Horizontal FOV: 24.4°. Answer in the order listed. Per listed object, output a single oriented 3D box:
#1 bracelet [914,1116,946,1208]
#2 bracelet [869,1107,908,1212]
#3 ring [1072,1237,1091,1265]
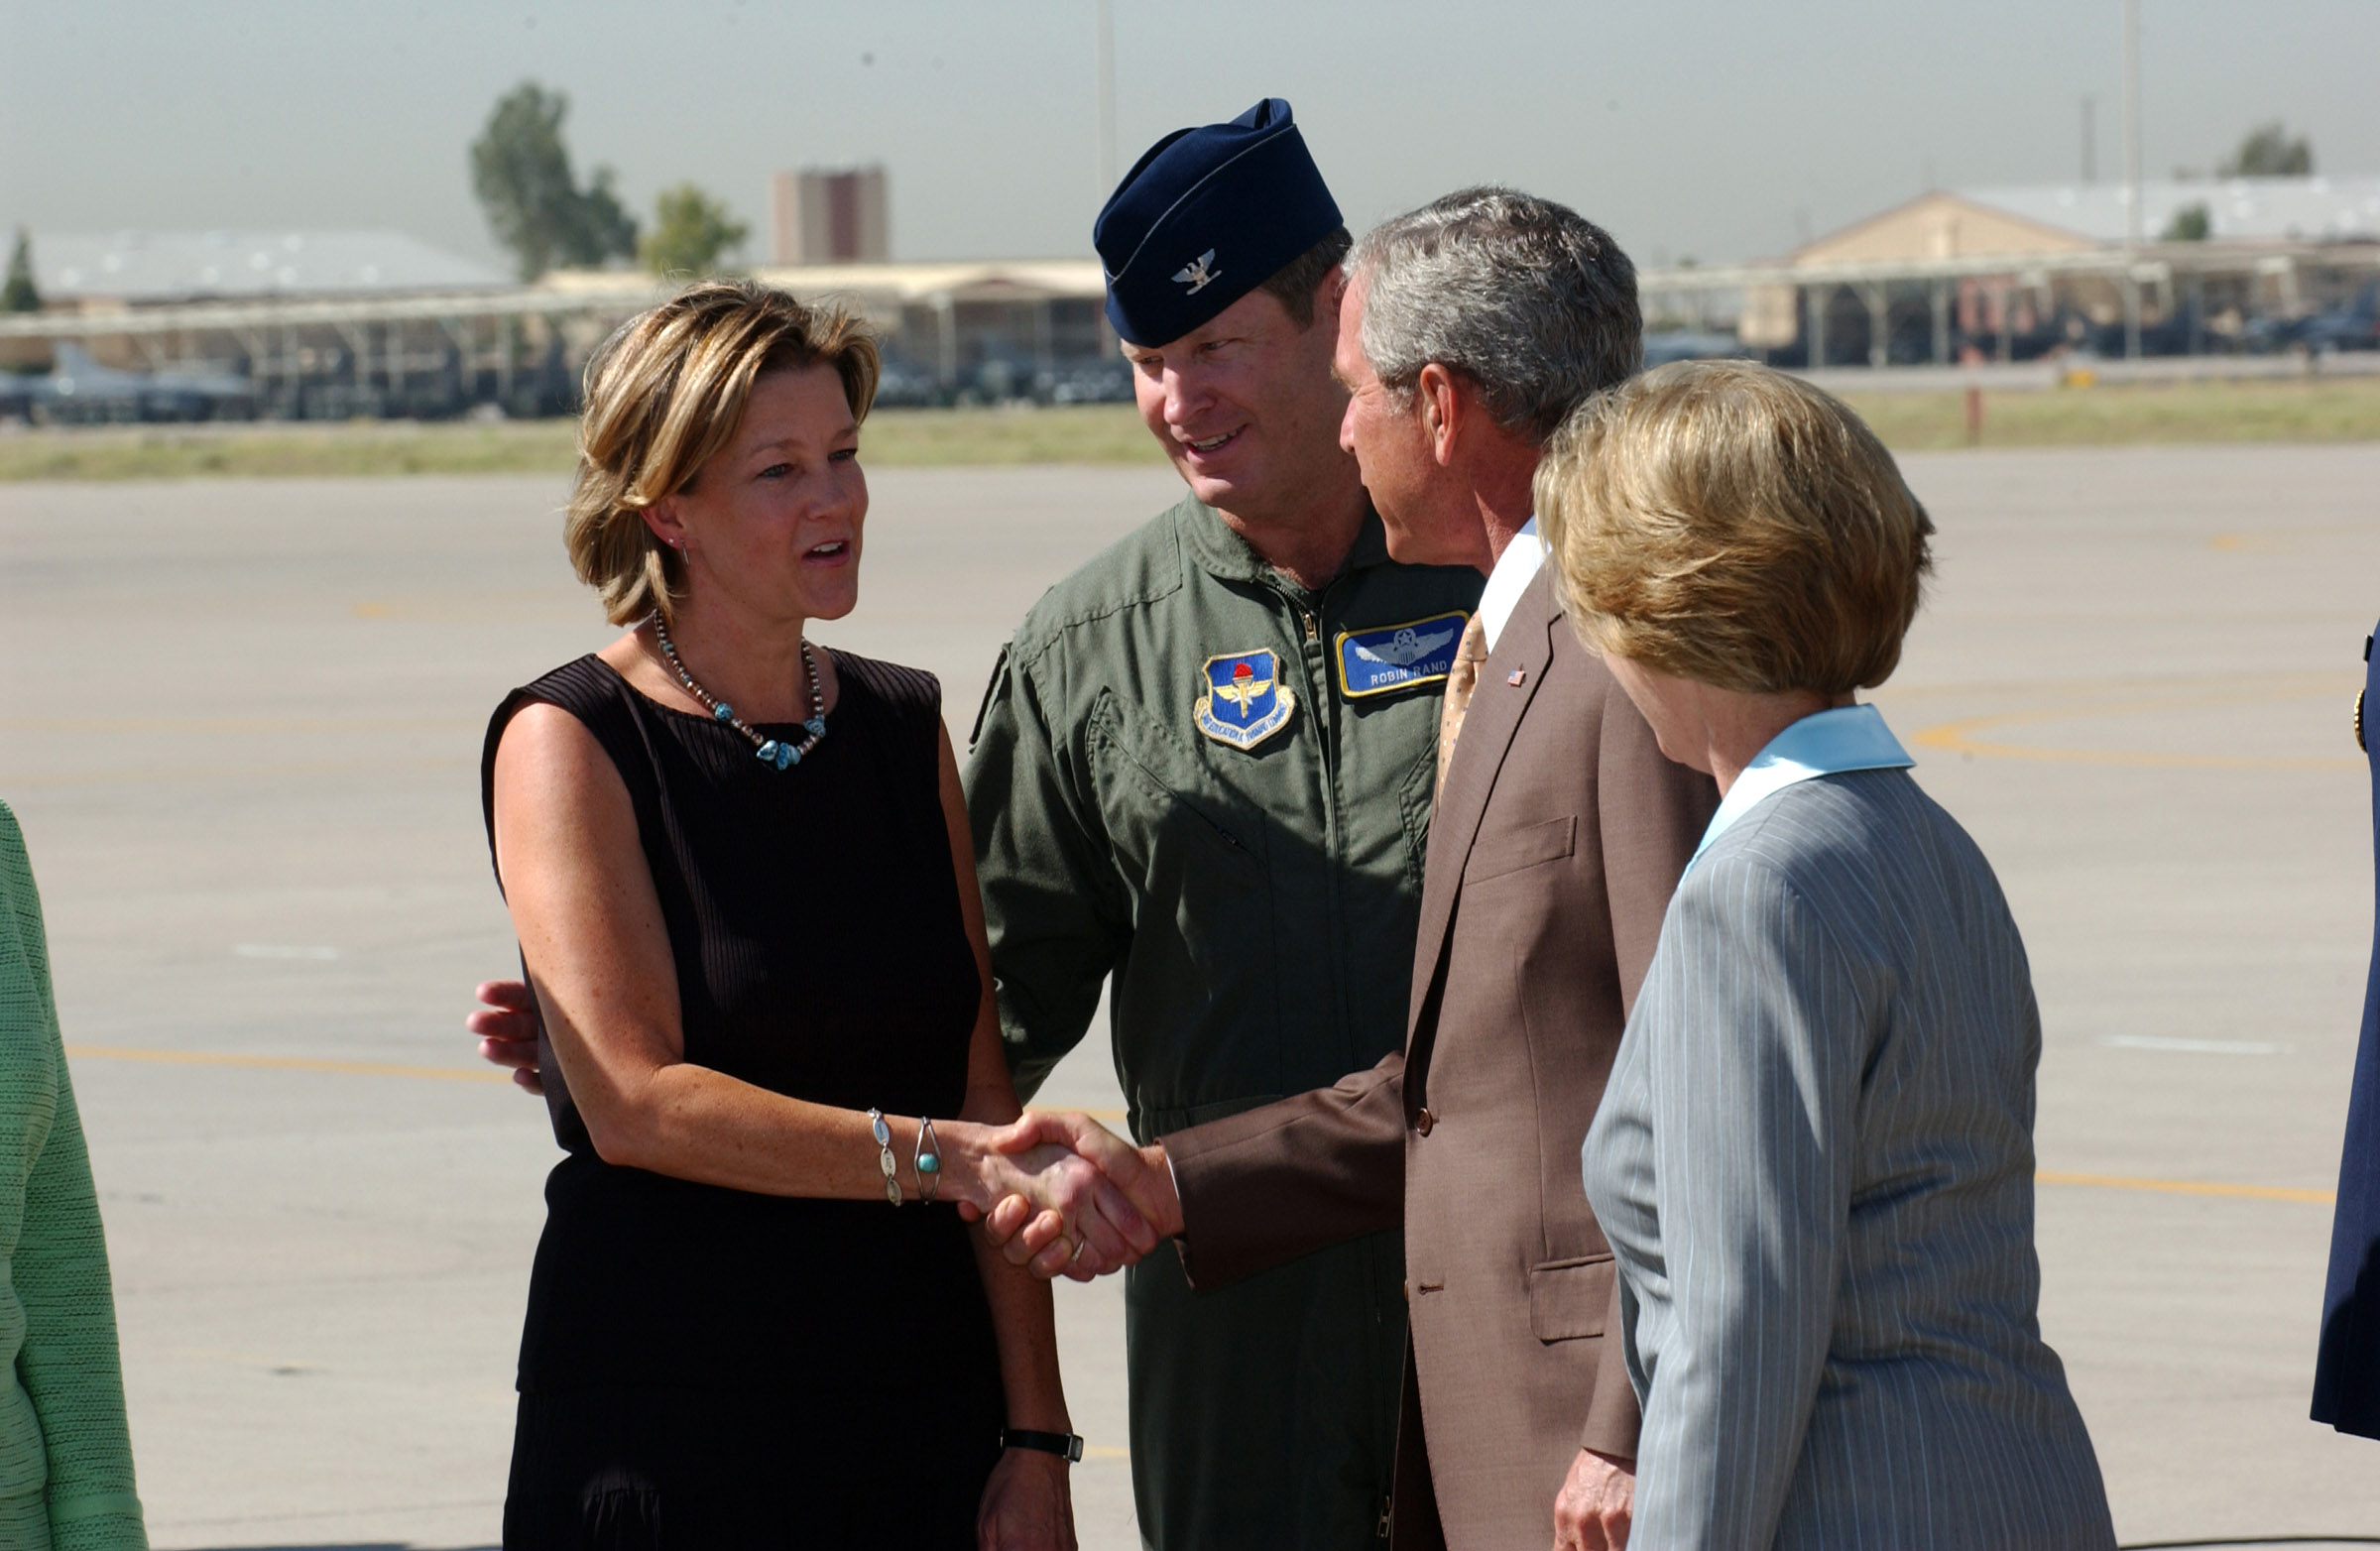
[{"bbox_3d":[-0.776,1.166,16.835,0.097,0.232,0.056,-4,8,-19],"label":"bracelet"},{"bbox_3d":[-0.891,1.153,16.806,0.105,0.257,0.051,-3,7,-7],"label":"bracelet"},{"bbox_3d":[-0.309,1.457,16.985,0.048,0.049,0.016,43,23,26],"label":"ring"}]
